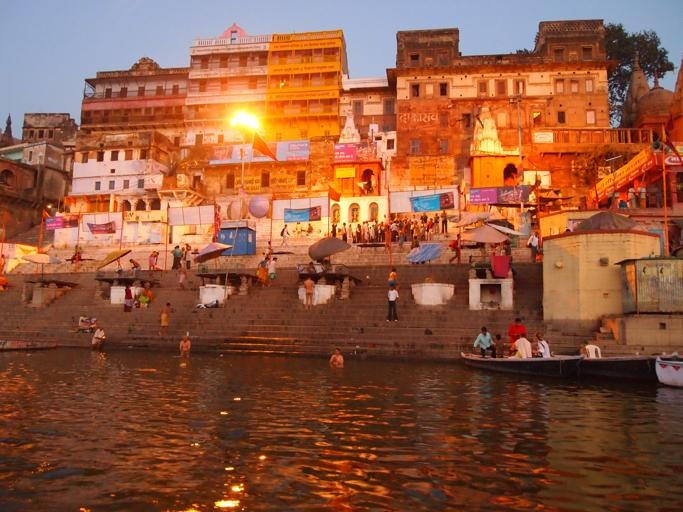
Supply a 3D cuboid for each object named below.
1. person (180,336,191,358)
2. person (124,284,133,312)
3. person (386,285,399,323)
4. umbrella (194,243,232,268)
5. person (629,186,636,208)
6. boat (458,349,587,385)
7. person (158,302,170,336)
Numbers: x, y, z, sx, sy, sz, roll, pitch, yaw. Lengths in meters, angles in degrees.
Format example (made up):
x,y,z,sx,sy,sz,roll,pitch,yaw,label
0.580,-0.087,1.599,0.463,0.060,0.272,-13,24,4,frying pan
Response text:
x,y,z,sx,sy,sz,roll,pitch,yaw,label
-4.808,2.711,19.773,0.270,0.576,0.714,1,-3,-15,person
-8.123,1.612,24.582,0.318,0.909,0.987,2,-3,-17,person
1.675,1.567,20.992,0.331,1.032,0.971,0,-3,4,person
-5.330,-0.171,26.098,1.126,0.772,1.444,1,-3,-13,umbrella
14.078,-2.768,31.144,0.286,0.951,1.069,0,-3,13,person
4.685,2.707,16.529,3.629,0.631,0.851,-6,-13,43,boat
-6.121,2.120,22.361,0.371,1.056,1.404,1,-3,-16,person
